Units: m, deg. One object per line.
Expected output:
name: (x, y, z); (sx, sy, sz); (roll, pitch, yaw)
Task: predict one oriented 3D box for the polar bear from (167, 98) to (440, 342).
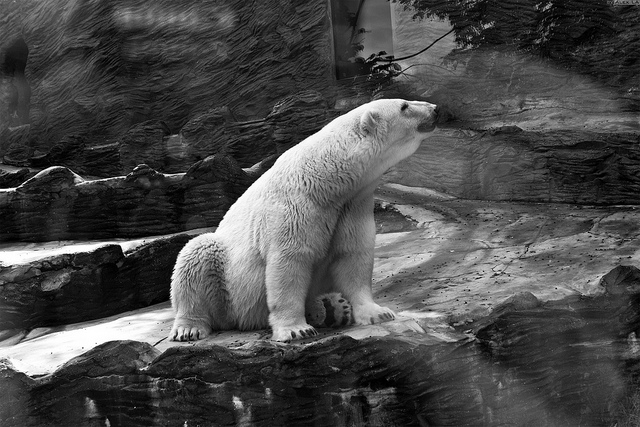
polar bear: (-0.218, 0.106, 9.640); (2.998, 2.729, 0.598); (-6, -11, 13)
